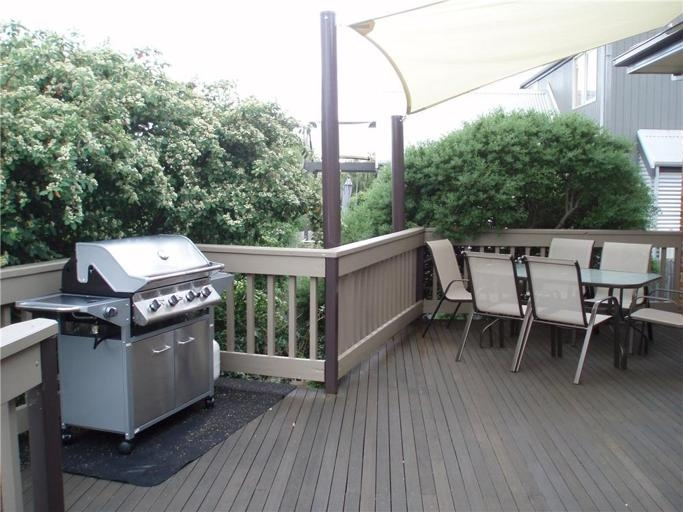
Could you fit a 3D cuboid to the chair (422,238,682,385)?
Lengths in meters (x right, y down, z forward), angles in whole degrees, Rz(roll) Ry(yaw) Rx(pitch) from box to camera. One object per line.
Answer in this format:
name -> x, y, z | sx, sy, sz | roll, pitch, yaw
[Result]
chair -> 2.418, 0.455, 5.593 | 1.426, 1.128, 1.954 | 11, 17, 41
